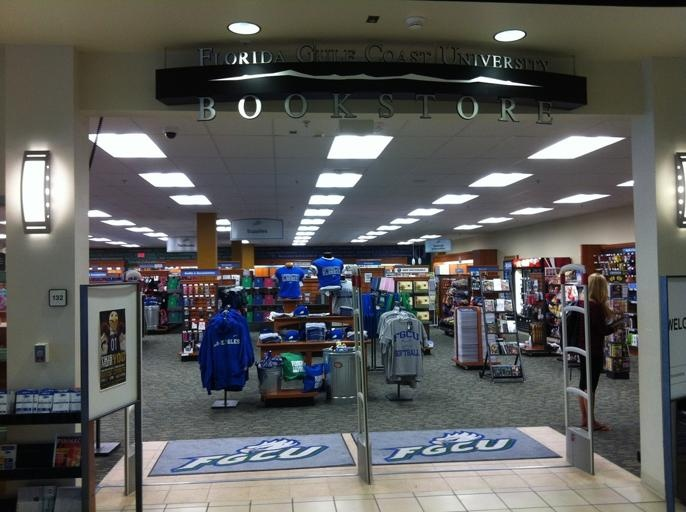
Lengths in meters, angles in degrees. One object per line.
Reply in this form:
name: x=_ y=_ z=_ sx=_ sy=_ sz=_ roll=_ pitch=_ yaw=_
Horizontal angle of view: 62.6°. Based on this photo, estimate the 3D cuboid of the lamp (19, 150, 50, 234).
lamp: x=-3.011 y=-0.625 z=5.544 sx=0.294 sy=0.815 sz=0.096 roll=-4 pitch=-3 yaw=7

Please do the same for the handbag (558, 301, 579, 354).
handbag: x=3.002 y=0.910 z=7.392 sx=0.246 sy=0.453 sz=0.906 roll=-4 pitch=-3 yaw=23

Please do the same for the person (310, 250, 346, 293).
person: x=-0.328 y=0.339 z=12.386 sx=0.660 sy=0.833 sz=1.037 roll=-3 pitch=-3 yaw=-3

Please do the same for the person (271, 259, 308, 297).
person: x=-1.233 y=0.594 z=13.110 sx=0.652 sy=0.890 sz=0.952 roll=-3 pitch=-3 yaw=-11

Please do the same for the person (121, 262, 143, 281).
person: x=-6.198 y=0.412 z=16.550 sx=0.628 sy=0.369 sz=0.924 roll=2 pitch=0 yaw=-17

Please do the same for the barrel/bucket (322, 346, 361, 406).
barrel/bucket: x=-0.039 y=1.853 z=8.786 sx=0.574 sy=0.821 sz=0.333 roll=-4 pitch=-3 yaw=14

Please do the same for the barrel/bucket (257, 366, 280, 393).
barrel/bucket: x=-1.132 y=1.922 z=8.743 sx=0.374 sy=0.373 sz=0.368 roll=0 pitch=-3 yaw=0

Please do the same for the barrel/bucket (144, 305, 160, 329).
barrel/bucket: x=-6.502 y=2.075 z=18.740 sx=0.667 sy=0.861 sz=0.670 roll=0 pitch=-3 yaw=0
